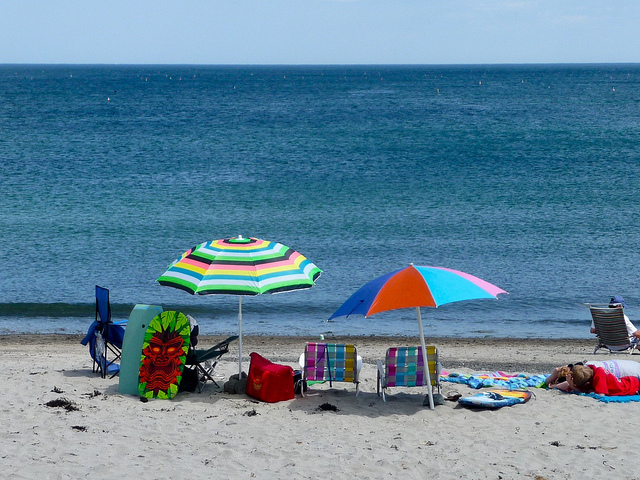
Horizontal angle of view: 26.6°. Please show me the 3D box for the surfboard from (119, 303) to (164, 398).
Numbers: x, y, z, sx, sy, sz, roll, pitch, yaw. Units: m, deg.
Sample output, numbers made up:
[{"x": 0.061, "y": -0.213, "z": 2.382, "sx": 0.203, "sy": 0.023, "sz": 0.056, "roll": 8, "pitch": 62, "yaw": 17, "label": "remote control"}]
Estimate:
[{"x": -6.766, "y": 4.895, "z": 58.467, "sx": 2.057, "sy": 4.210, "sz": 0.497, "roll": 4, "pitch": 18, "yaw": -21, "label": "surfboard"}]

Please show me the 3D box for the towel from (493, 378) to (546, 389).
[{"x": 8.834, "y": 6.212, "z": 59.415, "sx": 1.501, "sy": 0.239, "sz": 0.788, "roll": -1, "pitch": 10, "yaw": 3, "label": "towel"}]

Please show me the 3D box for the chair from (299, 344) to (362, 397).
[{"x": 0.470, "y": 5.801, "z": 59.857, "sx": 2.447, "sy": 2.483, "sz": 2.036, "roll": 1, "pitch": -2, "yaw": -3, "label": "chair"}]

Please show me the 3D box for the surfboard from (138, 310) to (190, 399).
[{"x": -6.725, "y": 4.884, "z": 58.373, "sx": 2.122, "sy": 3.739, "sz": 0.533, "roll": -1, "pitch": 6, "yaw": -7, "label": "surfboard"}]
